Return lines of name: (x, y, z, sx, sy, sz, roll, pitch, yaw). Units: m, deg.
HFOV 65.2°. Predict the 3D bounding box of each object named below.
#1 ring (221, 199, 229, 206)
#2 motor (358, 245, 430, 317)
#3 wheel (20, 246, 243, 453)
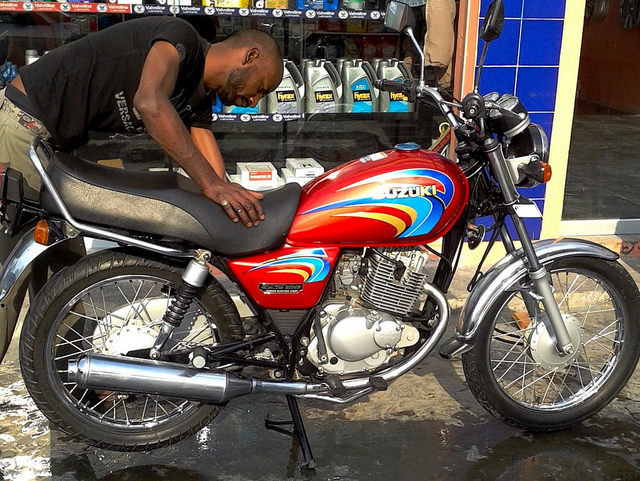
ring: (-0.404, -0.164, 2.137, 0.028, 0.027, 0.007, -3, 1, -7)
motor: (0.325, 0.181, 2.325, 0.234, 0.289, 0.200, 20, 11, -15)
wheel: (-0.887, 0.532, 2.371, 1.118, 1.053, 0.147, 0, 7, -7)
